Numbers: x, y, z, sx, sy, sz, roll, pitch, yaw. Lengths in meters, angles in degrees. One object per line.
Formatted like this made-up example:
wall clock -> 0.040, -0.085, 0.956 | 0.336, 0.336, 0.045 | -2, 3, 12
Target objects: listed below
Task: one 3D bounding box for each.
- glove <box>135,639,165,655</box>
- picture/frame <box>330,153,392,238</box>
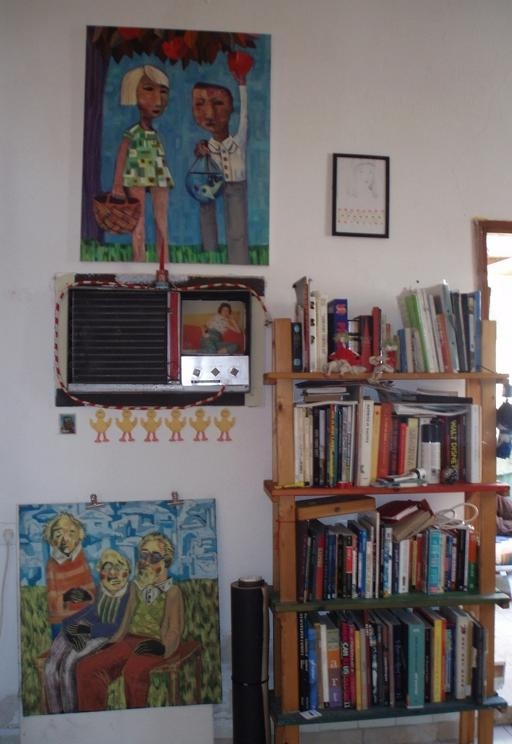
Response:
glove -> -0.414, 1.072, 3.216 | 0.109, 0.063, 0.008 | 0, -4, -10
picture/frame -> 0.422, -0.735, 3.426 | 0.357, 0.464, 0.019 | 0, 3, -3
